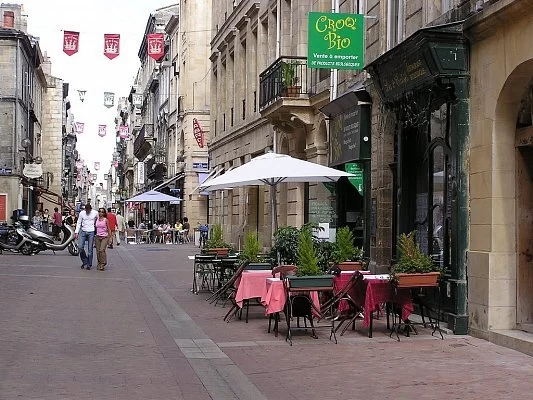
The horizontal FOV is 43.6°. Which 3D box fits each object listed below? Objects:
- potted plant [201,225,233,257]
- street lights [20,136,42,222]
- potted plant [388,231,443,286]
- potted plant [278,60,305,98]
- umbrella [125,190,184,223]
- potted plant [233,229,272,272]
[{"bbox_3d":[-1.222,1.088,16.430,0.628,1.097,0.747,2,-4,3],"label":"potted plant"},{"bbox_3d":[-15.344,-1.343,43.405,0.705,6.510,0.965,-2,4,-8],"label":"street lights"},{"bbox_3d":[2.423,1.010,11.016,0.781,0.831,0.419,1,-5,5],"label":"potted plant"},{"bbox_3d":[0.714,-3.536,19.820,0.857,1.196,0.965,-2,5,-11],"label":"potted plant"},{"bbox_3d":[-6.711,-0.116,40.331,2.046,2.122,2.766,1,-2,-28],"label":"umbrella"},{"bbox_3d":[-0.235,1.003,13.295,0.693,1.102,0.616,1,0,-36],"label":"potted plant"}]
